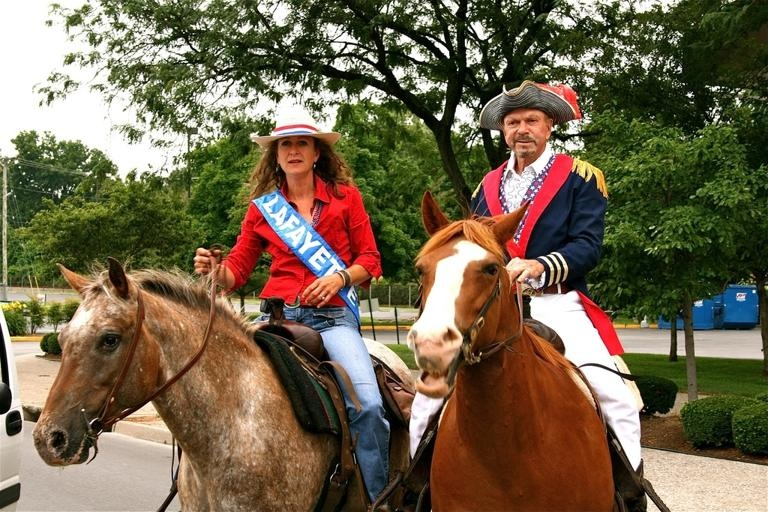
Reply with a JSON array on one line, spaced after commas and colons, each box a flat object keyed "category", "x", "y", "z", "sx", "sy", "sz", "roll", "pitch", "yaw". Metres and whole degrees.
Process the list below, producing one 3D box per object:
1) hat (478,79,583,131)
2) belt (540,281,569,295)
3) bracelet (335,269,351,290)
[{"category": "hat", "x": 1.493, "y": -1.482, "z": 7.803, "sx": 1.169, "sy": 0.352, "sz": 0.879, "roll": -6, "pitch": -7, "yaw": -16}, {"category": "belt", "x": 1.591, "y": 0.299, "z": 7.306, "sx": 0.169, "sy": 0.092, "sz": 0.122, "roll": 4, "pitch": -15, "yaw": -36}, {"category": "bracelet", "x": -0.388, "y": 0.216, "z": 7.601, "sx": 0.129, "sy": 0.168, "sz": 0.170, "roll": -9, "pitch": 39, "yaw": -13}]
